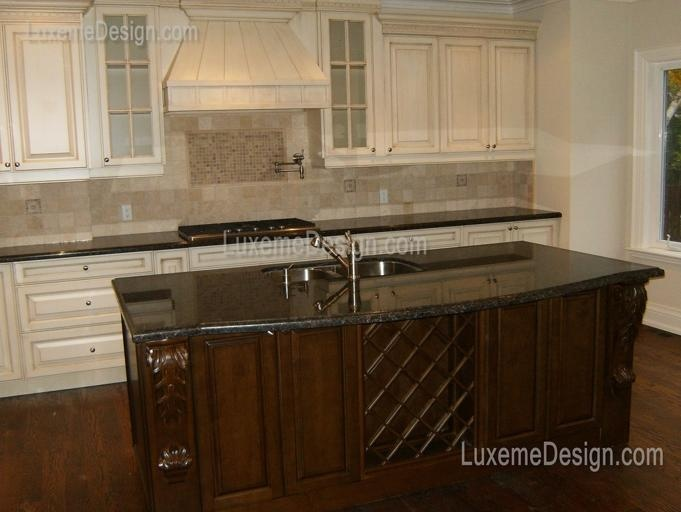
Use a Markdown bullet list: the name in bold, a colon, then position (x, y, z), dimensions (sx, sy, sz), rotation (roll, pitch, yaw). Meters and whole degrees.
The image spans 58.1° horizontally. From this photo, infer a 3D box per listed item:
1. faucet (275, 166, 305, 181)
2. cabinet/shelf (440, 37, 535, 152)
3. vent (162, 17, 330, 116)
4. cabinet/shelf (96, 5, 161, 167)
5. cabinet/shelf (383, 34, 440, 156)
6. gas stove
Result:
- **faucet**: position (-0.462, -0.780, 5.634), dimensions (0.262, 0.137, 0.103), rotation (-2, 9, -7)
- **cabinet/shelf**: position (1.298, -1.543, 5.980), dimensions (1.318, 1.129, 0.503), rotation (-10, 13, -32)
- **vent**: position (-0.807, -1.639, 5.011), dimensions (1.254, 0.705, 0.591), rotation (-5, 32, -14)
- **cabinet/shelf**: position (-1.678, -1.363, 4.862), dimensions (0.518, 1.207, 0.248), rotation (-6, 16, -13)
- **cabinet/shelf**: position (0.664, -1.482, 5.587), dimensions (0.518, 1.031, 0.225), rotation (-4, 16, -6)
- **gas stove**: position (-0.812, -0.240, 5.246), dimensions (1.119, 0.075, 0.669), rotation (-5, 15, -14)
